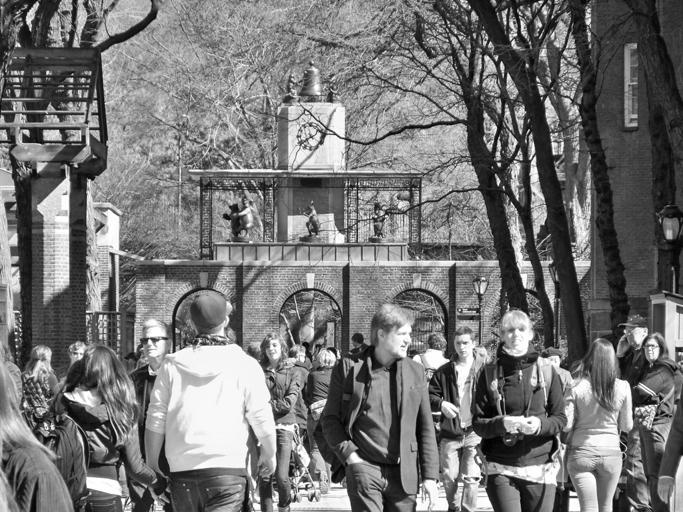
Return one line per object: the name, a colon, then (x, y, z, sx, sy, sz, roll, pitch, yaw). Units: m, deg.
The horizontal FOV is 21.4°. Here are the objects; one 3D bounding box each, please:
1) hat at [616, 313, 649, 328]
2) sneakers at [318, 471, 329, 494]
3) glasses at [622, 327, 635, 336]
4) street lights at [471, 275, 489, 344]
hat: (5.627, 1.267, 35.193, 0.480, 0.218, 0.325, 3, -8, -28)
sneakers: (-0.343, 4.294, 34.179, 0.139, 0.467, 0.220, -2, 18, 2)
glasses: (5.050, 1.322, 32.091, 0.175, 0.183, 0.185, -1, -8, 14)
street lights: (3.755, 1.544, 49.369, 0.400, 1.998, 0.427, 6, -8, -35)
